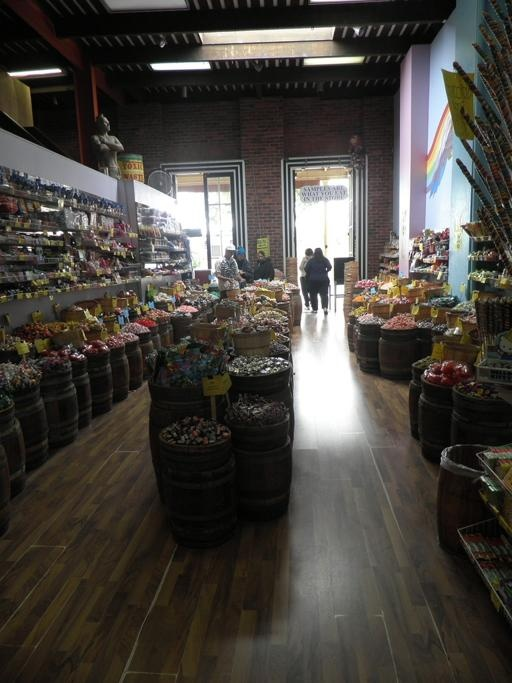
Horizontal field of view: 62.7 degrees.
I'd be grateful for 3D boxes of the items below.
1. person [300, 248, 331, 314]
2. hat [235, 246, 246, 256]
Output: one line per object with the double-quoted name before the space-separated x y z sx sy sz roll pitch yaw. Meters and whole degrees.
"person" 1.514 -1.468 10.417 0.672 1.576 1.030 -2 5 7
"hat" -0.361 -2.146 9.759 0.282 0.340 0.397 0 6 -3
